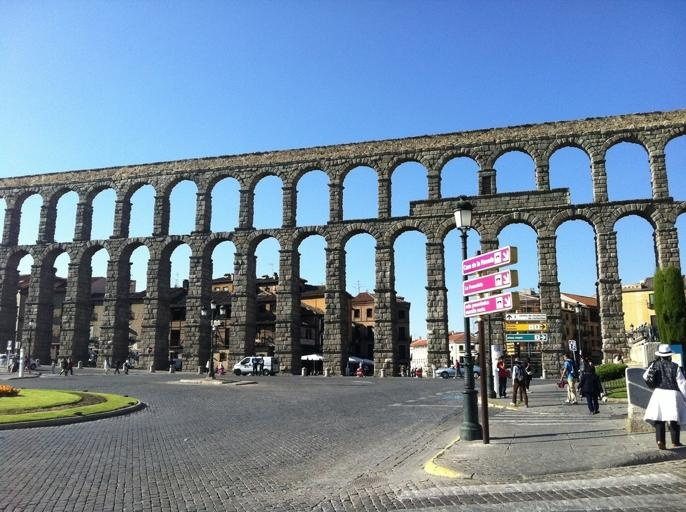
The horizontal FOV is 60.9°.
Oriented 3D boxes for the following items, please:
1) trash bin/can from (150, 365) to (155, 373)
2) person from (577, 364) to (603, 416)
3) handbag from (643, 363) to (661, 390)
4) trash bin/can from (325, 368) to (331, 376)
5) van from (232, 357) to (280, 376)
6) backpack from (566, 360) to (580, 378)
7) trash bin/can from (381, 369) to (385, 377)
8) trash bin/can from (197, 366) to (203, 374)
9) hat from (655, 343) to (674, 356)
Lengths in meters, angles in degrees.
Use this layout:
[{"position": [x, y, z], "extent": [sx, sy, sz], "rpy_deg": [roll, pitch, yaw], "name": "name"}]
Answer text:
[{"position": [-15.223, 9.058, 46.555], "extent": [0.477, 0.572, 0.498], "rpy_deg": [-3, -12, 11], "name": "trash bin/can"}, {"position": [7.965, 4.257, 18.830], "extent": [0.667, 1.672, 1.252], "rpy_deg": [-7, -14, 21], "name": "person"}, {"position": [7.001, 2.731, 13.201], "extent": [0.185, 0.558, 0.385], "rpy_deg": [-1, 3, 27], "name": "handbag"}, {"position": [-1.120, 8.955, 44.665], "extent": [0.409, 0.492, 0.436], "rpy_deg": [-4, -6, 21], "name": "trash bin/can"}, {"position": [-6.850, 8.813, 46.540], "extent": [2.755, 1.428, 1.654], "rpy_deg": [2, -13, -2], "name": "van"}, {"position": [8.477, 4.203, 21.564], "extent": [0.422, 0.643, 0.922], "rpy_deg": [-10, -16, 33], "name": "backpack"}, {"position": [3.014, 8.776, 43.615], "extent": [0.296, 0.560, 0.312], "rpy_deg": [-5, -13, 13], "name": "trash bin/can"}, {"position": [-11.271, 9.072, 46.097], "extent": [0.532, 0.628, 0.554], "rpy_deg": [0, -11, -1], "name": "trash bin/can"}, {"position": [7.415, 2.206, 13.407], "extent": [0.341, 0.150, 0.364], "rpy_deg": [-6, -13, 39], "name": "hat"}]
